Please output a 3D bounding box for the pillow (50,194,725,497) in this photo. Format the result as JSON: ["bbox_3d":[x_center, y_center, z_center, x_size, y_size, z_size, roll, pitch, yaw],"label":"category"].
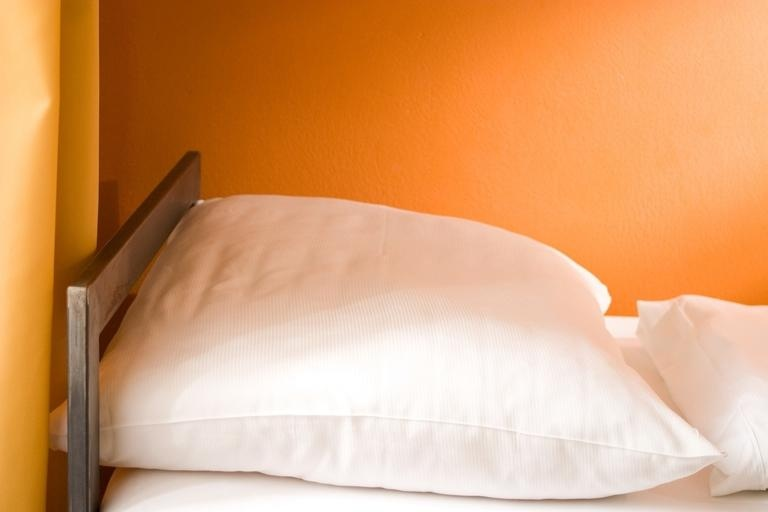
[{"bbox_3d":[-0.006,0.175,1.331,0.661,0.671,0.214,8,-76,-1],"label":"pillow"}]
